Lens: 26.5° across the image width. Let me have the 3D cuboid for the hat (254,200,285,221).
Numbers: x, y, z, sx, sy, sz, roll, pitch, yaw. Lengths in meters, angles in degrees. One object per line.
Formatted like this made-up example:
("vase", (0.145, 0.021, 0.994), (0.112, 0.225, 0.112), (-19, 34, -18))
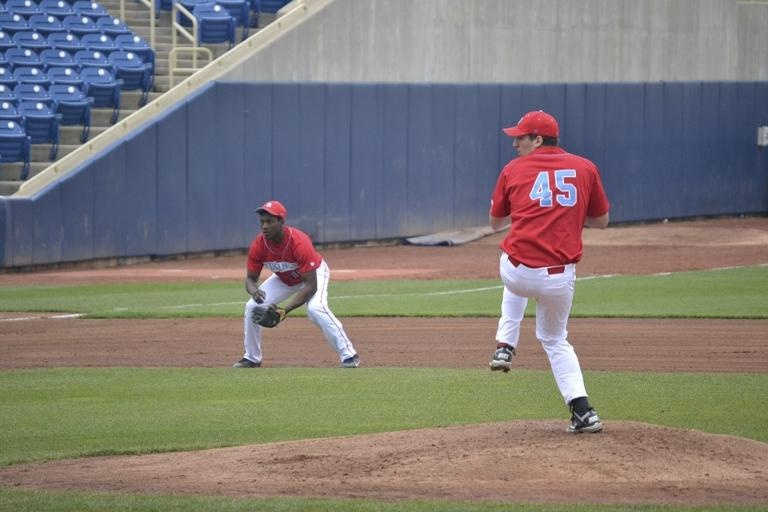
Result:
("hat", (-1.659, -0.662, 24.324), (0.379, 0.261, 0.601), (-1, 4, 1))

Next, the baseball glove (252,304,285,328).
("baseball glove", (-1.704, 0.889, 24.113), (0.463, 0.307, 0.220), (-2, 4, -5))

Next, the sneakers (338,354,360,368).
("sneakers", (-0.491, 1.579, 24.301), (0.140, 0.127, 0.344), (8, 13, 41))

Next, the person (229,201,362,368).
("person", (-1.411, 0.434, 24.389), (1.698, 2.466, 0.823), (-2, 5, -2))

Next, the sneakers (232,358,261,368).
("sneakers", (-2.026, 1.600, 24.275), (0.417, 0.128, 0.135), (3, 0, -4))
